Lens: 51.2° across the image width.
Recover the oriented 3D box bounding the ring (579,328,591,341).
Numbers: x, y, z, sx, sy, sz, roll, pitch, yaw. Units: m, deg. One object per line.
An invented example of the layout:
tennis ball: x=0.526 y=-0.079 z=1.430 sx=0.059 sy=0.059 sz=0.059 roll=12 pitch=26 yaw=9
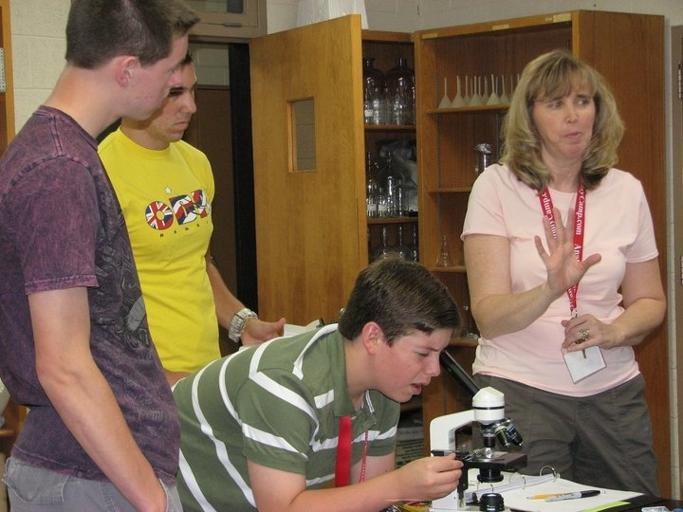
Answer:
ring: x=0.809 y=0.262 z=2.395 sx=0.030 sy=0.036 sz=0.012 roll=1 pitch=-11 yaw=7

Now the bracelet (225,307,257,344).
bracelet: x=-0.418 y=0.279 z=2.930 sx=0.050 sy=0.148 sz=0.106 roll=26 pitch=-5 yaw=5
